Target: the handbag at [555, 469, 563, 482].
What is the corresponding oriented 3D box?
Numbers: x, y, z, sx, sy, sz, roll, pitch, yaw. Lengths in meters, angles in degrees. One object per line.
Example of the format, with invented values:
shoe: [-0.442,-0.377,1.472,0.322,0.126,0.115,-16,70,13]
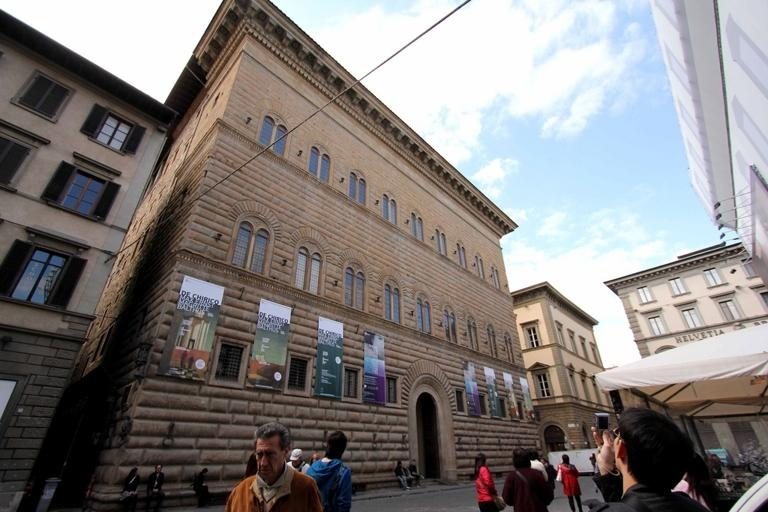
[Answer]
handbag: [4.753,5.902,10.213,0.110,0.287,0.527,-7,-28,17]
